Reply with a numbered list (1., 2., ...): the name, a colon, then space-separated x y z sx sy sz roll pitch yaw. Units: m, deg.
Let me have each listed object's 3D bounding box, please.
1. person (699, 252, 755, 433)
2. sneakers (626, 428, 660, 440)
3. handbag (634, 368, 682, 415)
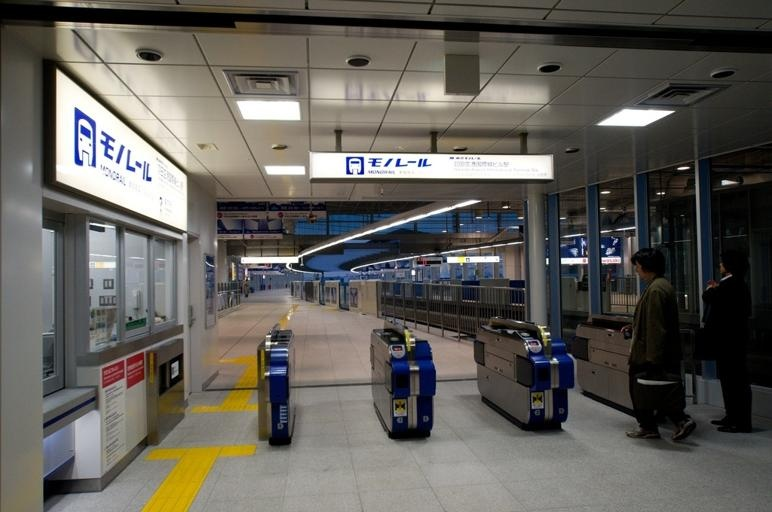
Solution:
1. person: 4.875 1.212 7.975 0.632 2.546 0.476 3 6 34
2. sneakers: 3.541 2.454 7.746 0.419 0.195 0.174 3 -4 14
3. handbag: 3.669 1.848 7.716 0.617 0.497 0.626 0 -8 -2
